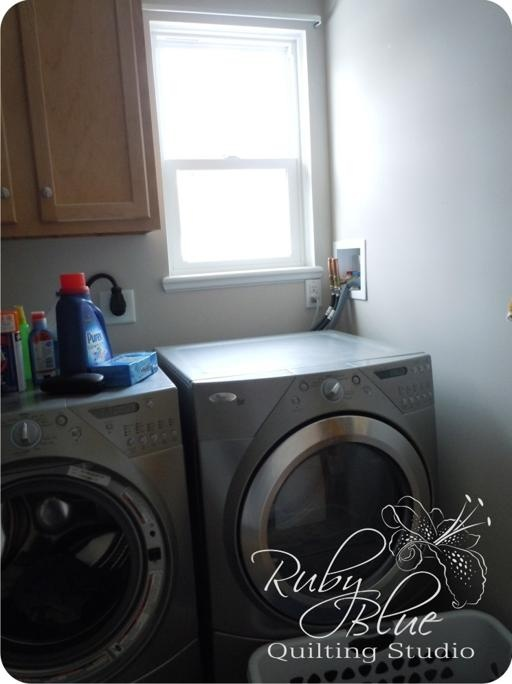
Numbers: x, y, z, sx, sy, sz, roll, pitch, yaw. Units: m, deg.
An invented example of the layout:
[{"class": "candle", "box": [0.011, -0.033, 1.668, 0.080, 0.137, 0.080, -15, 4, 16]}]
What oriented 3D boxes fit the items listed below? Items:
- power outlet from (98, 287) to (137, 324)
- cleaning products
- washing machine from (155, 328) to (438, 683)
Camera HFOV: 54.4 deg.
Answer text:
[{"class": "power outlet", "box": [-0.477, -0.134, 1.727, 0.111, 0.119, 0.027, -9, 14, -28]}, {"class": "cleaning products", "box": [-0.430, -0.048, 1.225, 0.132, 0.233, 0.197, -10, 14, -22]}, {"class": "washing machine", "box": [0.208, 0.235, 1.557, 0.722, 1.123, 0.721, -5, 10, -20]}]
